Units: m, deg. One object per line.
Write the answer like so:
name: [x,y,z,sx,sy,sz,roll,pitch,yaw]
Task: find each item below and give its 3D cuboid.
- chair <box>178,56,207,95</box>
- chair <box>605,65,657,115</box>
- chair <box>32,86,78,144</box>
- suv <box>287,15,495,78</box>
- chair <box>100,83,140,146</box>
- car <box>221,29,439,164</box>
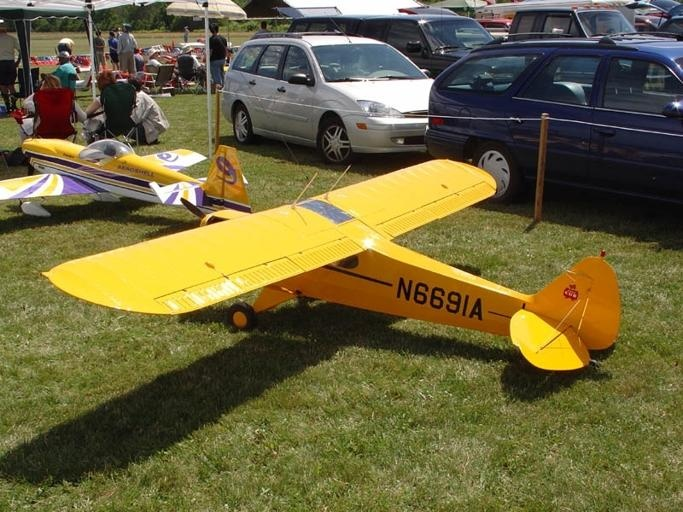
chair: [-5.450,-6.423,21.209,1.106,0.944,0.957,-6,-1,4]
chair: [3.471,-2.014,7.070,0.703,0.560,0.352,16,25,32]
chair: [-4.575,-2.247,9.510,0.837,1.063,0.836,-4,33,-25]
suv: [1.134,-4.925,13.210,3.682,1.160,2.058,18,36,29]
chair: [-4.080,-2.508,10.862,0.830,1.016,0.745,4,12,44]
car: [-0.104,-2.980,10.860,3.884,1.478,2.446,17,26,41]
